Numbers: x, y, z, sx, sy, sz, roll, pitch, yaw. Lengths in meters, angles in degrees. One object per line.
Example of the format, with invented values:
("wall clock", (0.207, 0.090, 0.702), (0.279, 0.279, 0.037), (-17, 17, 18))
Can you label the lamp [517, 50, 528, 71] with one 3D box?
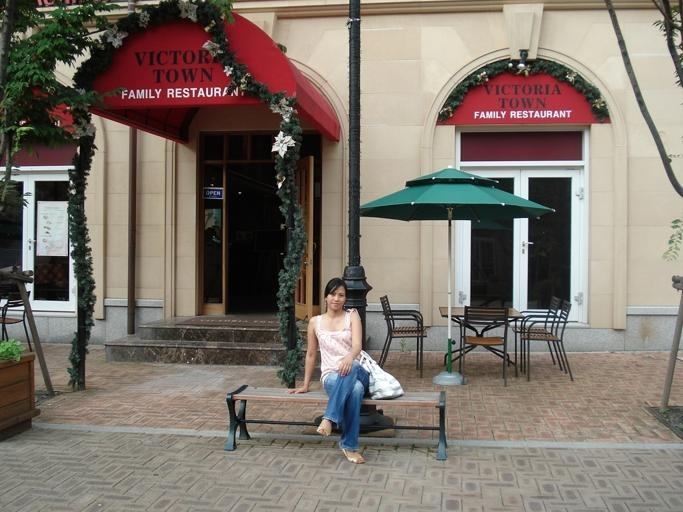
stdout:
("lamp", (3.232, -3.492, 11.226), (0.185, 0.370, 0.196), (2, 8, 8))

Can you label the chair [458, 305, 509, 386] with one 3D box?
("chair", (2.049, 1.234, 9.202), (0.818, 1.099, 0.857), (5, -10, 2))

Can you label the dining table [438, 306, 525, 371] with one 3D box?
("dining table", (2.166, 1.217, 9.890), (1.092, 1.041, 1.223), (1, 8, 11))

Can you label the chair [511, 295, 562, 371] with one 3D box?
("chair", (3.127, 1.236, 9.858), (0.702, 1.008, 0.816), (0, 6, 8))

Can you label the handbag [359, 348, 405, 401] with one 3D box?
("handbag", (0.426, 1.303, 6.890), (0.473, 0.474, 0.269), (2, 8, 13))

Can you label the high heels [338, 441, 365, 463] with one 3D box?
("high heels", (0.111, 2.077, 6.659), (0.132, 0.121, 0.312), (0, -3, -35))

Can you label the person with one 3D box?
("person", (-0.086, 1.188, 6.828), (0.779, 1.844, 0.937), (-1, 8, -14))

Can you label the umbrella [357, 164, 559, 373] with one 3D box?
("umbrella", (1.649, 0.252, 9.499), (2.359, 3.126, 2.409), (2, 8, 11))

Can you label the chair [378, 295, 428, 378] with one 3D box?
("chair", (1.034, 1.221, 10.517), (1.124, 1.572, 1.110), (-1, 2, 5))
